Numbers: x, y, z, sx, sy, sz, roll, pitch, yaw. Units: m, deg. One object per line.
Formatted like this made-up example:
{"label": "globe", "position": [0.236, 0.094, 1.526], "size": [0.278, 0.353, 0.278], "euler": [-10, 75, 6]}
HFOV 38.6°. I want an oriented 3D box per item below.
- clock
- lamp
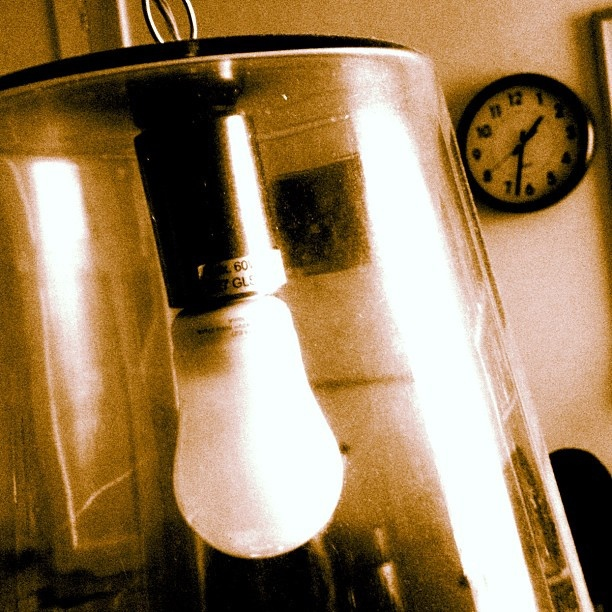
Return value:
{"label": "clock", "position": [0.279, -0.213, 1.142], "size": [0.184, 0.194, 0.210], "euler": [-3, 52, 14]}
{"label": "lamp", "position": [-0.031, 0.012, 0.416], "size": [0.080, 0.197, 0.075], "euler": [-8, 17, -11]}
